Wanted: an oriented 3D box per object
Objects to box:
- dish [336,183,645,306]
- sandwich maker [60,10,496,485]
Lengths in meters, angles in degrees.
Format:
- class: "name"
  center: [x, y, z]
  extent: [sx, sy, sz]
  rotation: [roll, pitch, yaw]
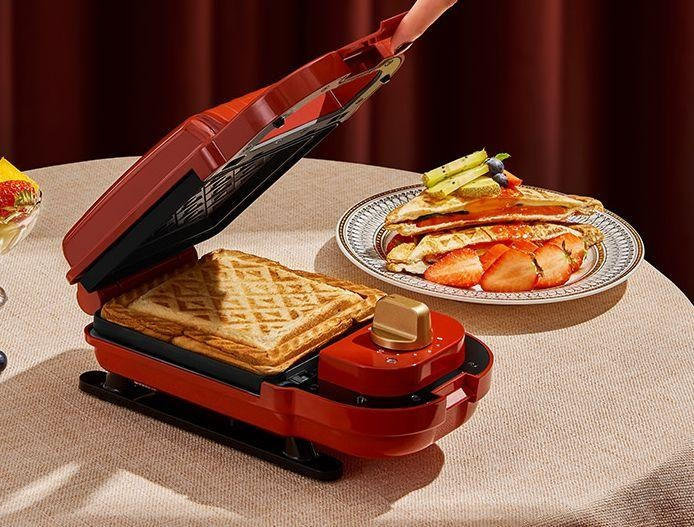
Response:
- class: "dish"
  center: [0.159, -0.004, 0.923]
  extent: [0.268, 0.032, 0.258]
  rotation: [12, 24, 28]
- class: "sandwich maker"
  center: [-0.067, -0.027, 0.656]
  extent: [0.414, 0.379, 0.216]
  rotation: [16, 25, 23]
